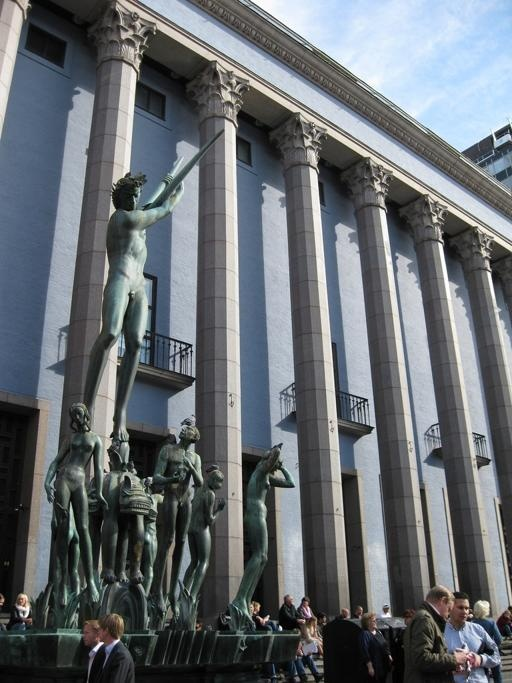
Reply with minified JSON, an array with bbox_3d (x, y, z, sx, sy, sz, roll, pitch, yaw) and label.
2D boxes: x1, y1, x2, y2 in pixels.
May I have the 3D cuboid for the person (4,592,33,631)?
[{"bbox_3d":[-3.651,4.223,9.240,0.323,0.463,2.205,6,-21,-19],"label":"person"}]

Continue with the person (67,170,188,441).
[{"bbox_3d":[-1.724,-0.495,7.680,0.541,3.586,1.120,-14,-22,35],"label":"person"}]
